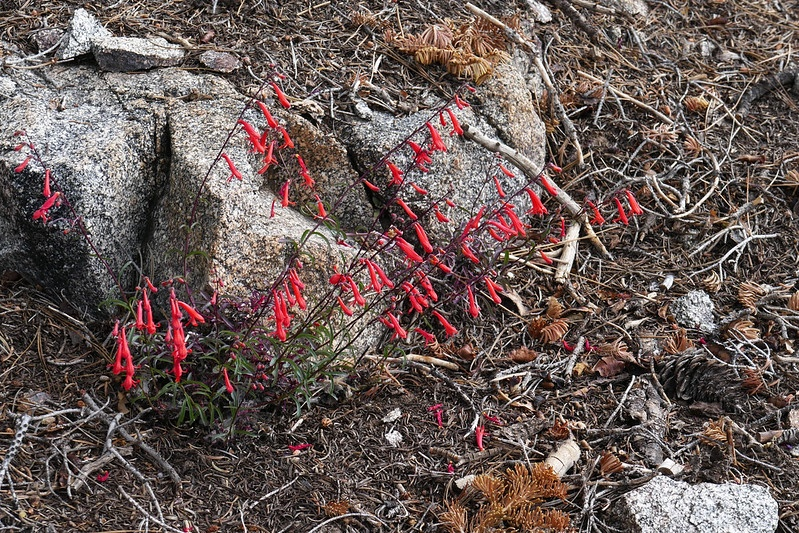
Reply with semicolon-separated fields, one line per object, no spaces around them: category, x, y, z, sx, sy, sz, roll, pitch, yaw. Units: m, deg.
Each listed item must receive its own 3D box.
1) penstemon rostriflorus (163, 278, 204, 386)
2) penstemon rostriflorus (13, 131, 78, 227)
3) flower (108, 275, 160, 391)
penstemon rostriflorus;-1.590;0.519;7.512;0.352;0.801;0.321;-7;43;-16
penstemon rostriflorus;-2.734;-0.643;7.786;0.212;0.223;0.749;-22;54;-19
flower;-1.995;0.539;7.612;0.364;0.884;0.363;36;47;22
